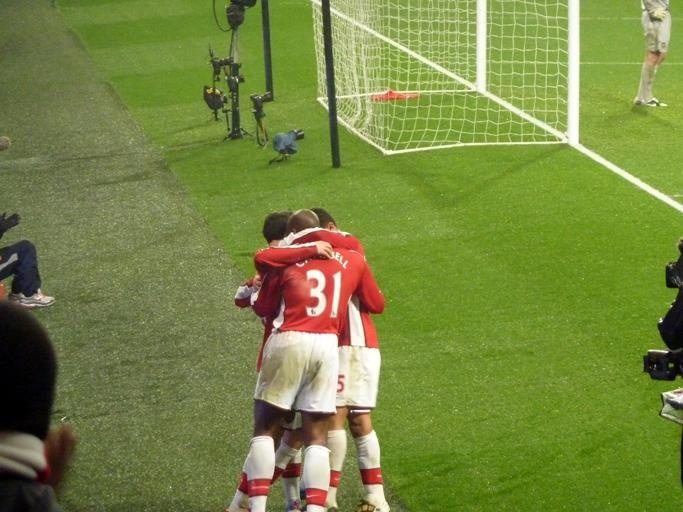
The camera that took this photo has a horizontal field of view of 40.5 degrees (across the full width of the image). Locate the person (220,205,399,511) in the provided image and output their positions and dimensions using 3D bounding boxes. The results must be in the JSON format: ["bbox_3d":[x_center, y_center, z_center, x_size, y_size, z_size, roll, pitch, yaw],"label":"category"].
[{"bbox_3d":[-0.170,0.912,6.888,0.842,1.815,1.582,3,36,10],"label":"person"}]

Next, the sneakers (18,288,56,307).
[{"bbox_3d":[-3.079,0.464,9.389,0.341,0.164,0.133,-3,17,-22],"label":"sneakers"}]

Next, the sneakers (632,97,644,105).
[{"bbox_3d":[4.519,-2.187,14.164,0.116,0.113,0.077,-9,19,-12],"label":"sneakers"}]

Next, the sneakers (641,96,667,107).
[{"bbox_3d":[4.724,-2.167,14.067,0.409,0.174,0.144,-2,13,0],"label":"sneakers"}]
